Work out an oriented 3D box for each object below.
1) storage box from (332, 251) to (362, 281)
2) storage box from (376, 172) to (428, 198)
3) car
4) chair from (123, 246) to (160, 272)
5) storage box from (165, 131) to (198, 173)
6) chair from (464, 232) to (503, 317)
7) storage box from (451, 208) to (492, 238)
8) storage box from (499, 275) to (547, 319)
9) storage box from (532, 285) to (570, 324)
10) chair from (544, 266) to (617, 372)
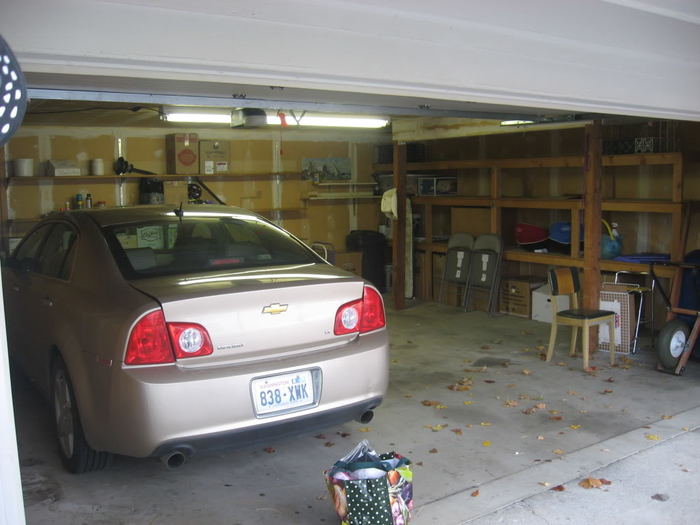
[{"bbox_3d":[-0.090,0.151,9.621,0.364,0.520,0.689,5,6,40],"label":"storage box"},{"bbox_3d":[0.944,-1.517,10.109,0.794,0.318,0.538,0,2,8],"label":"storage box"},{"bbox_3d":[-1.456,0.228,4.219,1.363,1.139,3.161,-3,12,-29],"label":"car"},{"bbox_3d":[-1.381,-0.028,3.536,0.168,0.164,0.114,-7,-30,-35],"label":"chair"},{"bbox_3d":[-2.858,-1.840,9.075,0.547,0.656,0.315,-4,6,-15],"label":"storage box"},{"bbox_3d":[2.104,0.143,8.272,0.611,1.111,0.382,8,5,41],"label":"chair"},{"bbox_3d":[1.993,-0.687,8.739,0.709,0.538,0.402,-2,3,-37],"label":"storage box"},{"bbox_3d":[2.667,0.459,8.194,0.593,0.562,0.583,-8,12,-40],"label":"storage box"},{"bbox_3d":[2.972,0.626,7.758,0.530,0.539,0.531,-4,12,-22],"label":"storage box"},{"bbox_3d":[2.546,0.554,5.850,0.628,0.978,0.667,-2,3,-12],"label":"chair"}]
